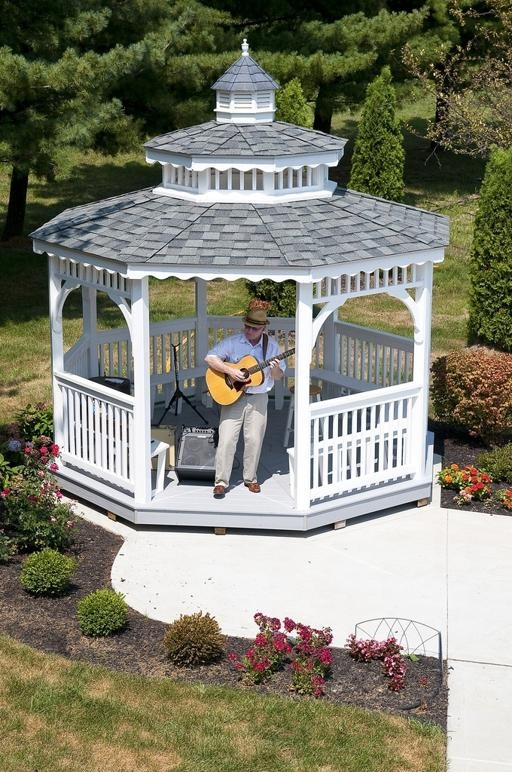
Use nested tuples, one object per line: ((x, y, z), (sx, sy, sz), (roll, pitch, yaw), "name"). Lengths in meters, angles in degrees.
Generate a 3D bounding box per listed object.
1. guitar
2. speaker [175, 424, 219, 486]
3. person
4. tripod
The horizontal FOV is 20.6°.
((-0.026, -0.100, 11.643), (0.829, 0.378, 0.116), (-27, 2, 1), "guitar")
((-0.502, 0.543, 12.362), (0.470, 0.379, 0.691), (4, 47, 3), "speaker")
((-0.085, 0.116, 11.826), (0.637, 1.631, 0.571), (0, 13, -9), "person")
((-0.695, 0.024, 14.334), (0.447, 0.903, 0.420), (1, 13, -5), "tripod")
